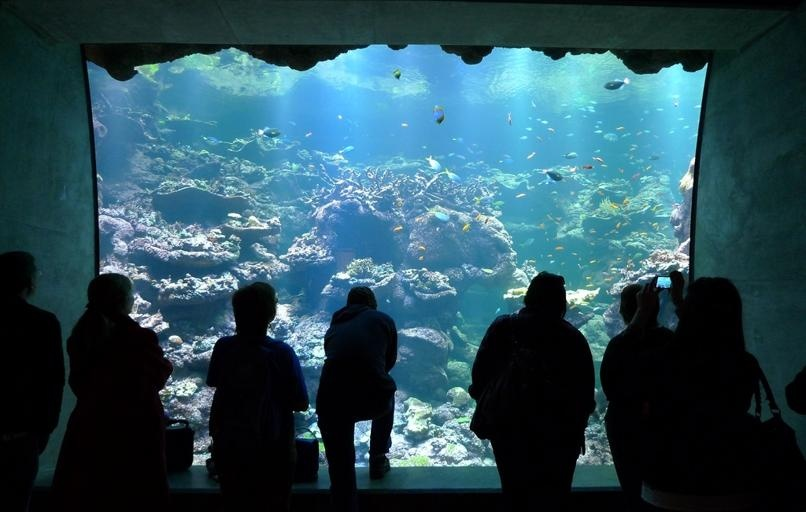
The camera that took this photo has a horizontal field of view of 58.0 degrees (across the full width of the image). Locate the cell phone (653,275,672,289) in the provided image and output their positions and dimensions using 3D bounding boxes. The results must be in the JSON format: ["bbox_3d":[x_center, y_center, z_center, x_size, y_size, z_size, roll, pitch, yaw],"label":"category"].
[{"bbox_3d":[3.597,0.365,10.079,0.219,0.131,0.028,2,-3,-17],"label":"cell phone"}]

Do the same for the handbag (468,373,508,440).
[{"bbox_3d":[1.050,2.071,10.102,0.653,0.772,0.621,-1,0,-6],"label":"handbag"}]
